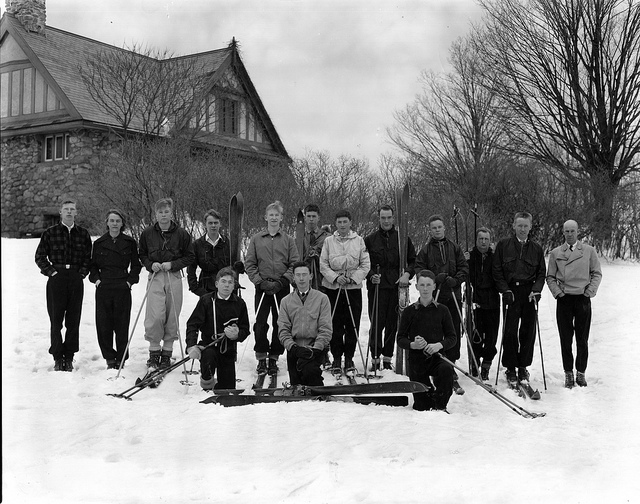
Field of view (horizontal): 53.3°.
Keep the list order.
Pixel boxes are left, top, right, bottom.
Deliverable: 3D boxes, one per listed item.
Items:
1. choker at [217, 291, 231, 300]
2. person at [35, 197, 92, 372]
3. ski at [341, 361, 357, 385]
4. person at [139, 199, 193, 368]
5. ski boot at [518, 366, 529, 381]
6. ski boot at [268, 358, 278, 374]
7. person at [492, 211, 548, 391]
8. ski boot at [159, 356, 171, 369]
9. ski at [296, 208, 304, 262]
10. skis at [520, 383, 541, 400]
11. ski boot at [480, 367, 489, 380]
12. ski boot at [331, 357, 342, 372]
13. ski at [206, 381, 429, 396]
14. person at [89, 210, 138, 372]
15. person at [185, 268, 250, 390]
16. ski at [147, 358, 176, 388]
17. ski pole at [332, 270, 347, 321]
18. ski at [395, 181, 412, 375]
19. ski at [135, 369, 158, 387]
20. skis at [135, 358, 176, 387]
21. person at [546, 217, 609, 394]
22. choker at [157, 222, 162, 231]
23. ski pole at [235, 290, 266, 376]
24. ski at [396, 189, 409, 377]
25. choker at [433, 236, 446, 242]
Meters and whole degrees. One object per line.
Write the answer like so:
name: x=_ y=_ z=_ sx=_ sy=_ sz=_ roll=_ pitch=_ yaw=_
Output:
choker: x=-1.253 y=0.576 z=8.208 sx=0.170 sy=0.073 sz=0.039 roll=0 pitch=-3 yaw=-6
person: x=-3.478 y=0.441 z=8.581 sx=0.706 sy=2.314 sz=0.360 roll=1 pitch=-3 yaw=-27
ski: x=0.381 y=1.645 z=8.664 sx=0.065 sy=0.079 sz=0.698 roll=1 pitch=8 yaw=-6
person: x=-2.152 y=0.436 z=8.791 sx=0.714 sy=2.288 sz=0.463 roll=1 pitch=-3 yaw=-19
ski boot: x=2.732 y=1.629 z=8.530 sx=0.070 sy=0.102 sz=0.239 roll=-1 pitch=40 yaw=5
ski boot: x=-0.663 y=1.563 z=8.777 sx=0.106 sy=0.194 sz=0.247 roll=0 pitch=-3 yaw=-11
person: x=2.657 y=0.652 z=8.466 sx=0.670 sy=2.332 sz=0.413 roll=-1 pitch=-3 yaw=18
ski boot: x=-2.152 y=1.524 z=8.721 sx=0.138 sy=0.162 sz=0.098 roll=-1 pitch=-3 yaw=11
ski: x=-0.315 y=-0.276 z=9.699 sx=0.090 sy=1.037 sz=0.148 roll=-1 pitch=-22 yaw=7
skis: x=2.753 y=1.809 z=8.272 sx=0.187 sy=0.157 sz=0.316 roll=0 pitch=-3 yaw=-4
ski boot: x=2.269 y=1.678 z=8.772 sx=0.134 sy=0.158 sz=0.093 roll=-1 pitch=1 yaw=5
ski boot: x=0.214 y=1.551 z=8.849 sx=0.133 sy=0.174 sz=0.272 roll=0 pitch=-3 yaw=1
ski: x=0.269 y=1.630 z=7.626 sx=2.000 sy=0.170 sz=0.285 roll=-1 pitch=-3 yaw=5
person: x=-2.849 y=0.527 z=8.701 sx=0.615 sy=2.141 sz=0.407 roll=-1 pitch=-3 yaw=26
person: x=-1.308 y=0.964 z=8.035 sx=0.799 sy=1.518 sz=0.587 roll=1 pitch=-3 yaw=-19
ski: x=-2.114 y=1.602 z=8.381 sx=0.158 sy=0.205 sz=0.710 roll=-19 pitch=7 yaw=3
ski pole: x=0.263 y=0.602 z=8.890 sx=0.072 sy=0.731 sz=0.097 roll=10 pitch=-16 yaw=38
ski: x=1.161 y=0.290 z=8.940 sx=0.242 sy=2.852 sz=0.207 roll=2 pitch=1 yaw=13
ski: x=-2.256 y=1.593 z=8.146 sx=0.084 sy=0.063 sz=0.397 roll=12 pitch=28 yaw=13
skis: x=-2.184 y=1.571 z=8.286 sx=0.194 sy=0.295 sz=0.807 roll=10 pitch=5 yaw=1
person: x=3.394 y=0.708 z=8.490 sx=0.686 sy=2.253 sz=0.365 roll=-1 pitch=-3 yaw=22
choker: x=-2.265 y=-0.351 z=8.870 sx=0.020 sy=0.098 sz=0.094 roll=-11 pitch=-8 yaw=-11
ski pole: x=-0.992 y=1.191 z=8.924 sx=0.025 sy=1.385 sz=0.095 roll=9 pitch=27 yaw=-25
ski: x=1.155 y=0.304 z=9.044 sx=0.169 sy=2.264 sz=0.227 roll=-1 pitch=1 yaw=-10
choker: x=1.638 y=-0.169 z=8.691 sx=0.200 sy=0.076 sz=0.075 roll=1 pitch=-3 yaw=-23
